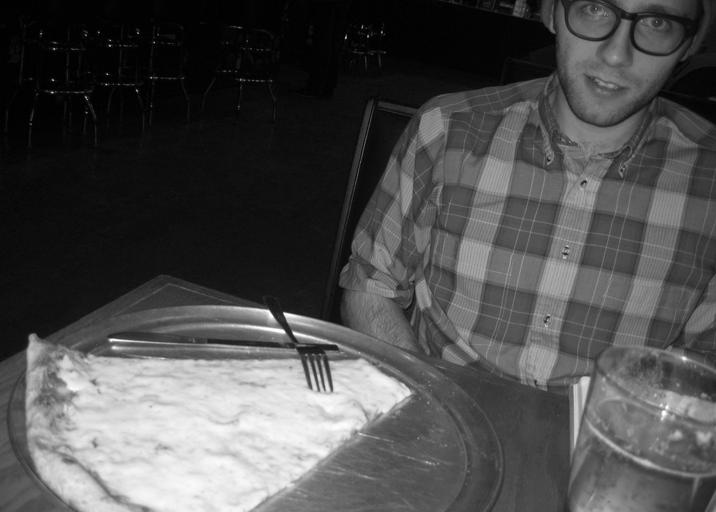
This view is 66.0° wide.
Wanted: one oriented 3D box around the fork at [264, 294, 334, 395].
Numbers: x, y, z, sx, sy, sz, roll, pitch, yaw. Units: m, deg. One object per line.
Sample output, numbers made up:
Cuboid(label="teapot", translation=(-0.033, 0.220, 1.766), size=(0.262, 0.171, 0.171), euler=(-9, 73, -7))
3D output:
Cuboid(label="fork", translation=(-0.079, 0.095, 0.762), size=(0.041, 0.034, 0.240), euler=(-10, 39, -12))
